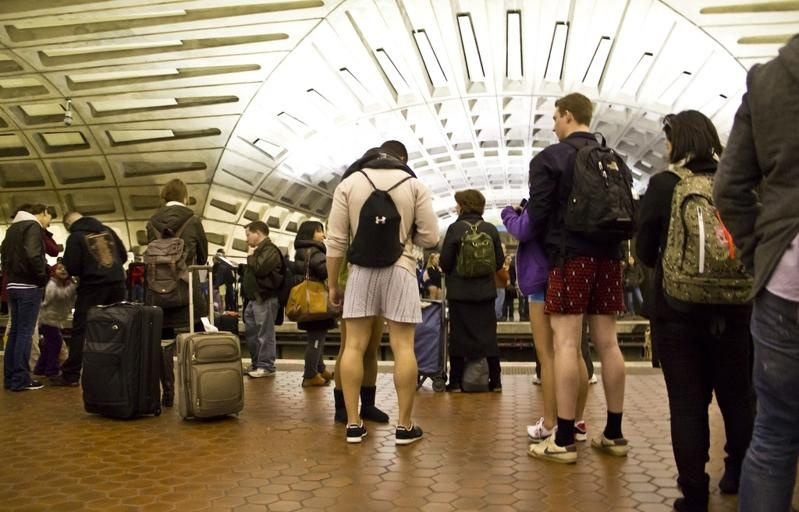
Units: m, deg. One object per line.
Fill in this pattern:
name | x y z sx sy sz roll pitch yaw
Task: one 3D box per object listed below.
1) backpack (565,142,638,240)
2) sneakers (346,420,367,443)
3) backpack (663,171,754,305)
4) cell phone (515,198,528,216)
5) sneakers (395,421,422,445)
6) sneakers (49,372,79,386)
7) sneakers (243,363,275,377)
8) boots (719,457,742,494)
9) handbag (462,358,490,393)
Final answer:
backpack | 1.731 -0.558 4.467 0.591 0.894 0.317 -1 -4 13
sneakers | -0.428 1.749 5.167 0.107 0.112 0.289 -1 -3 5
backpack | 2.141 -0.131 3.613 0.480 0.899 0.237 0 -4 6
cell phone | 1.238 -0.504 5.125 0.069 0.182 0.138 41 28 26
sneakers | 0.104 1.754 5.180 0.128 0.134 0.349 -1 -3 25
sneakers | -5.177 1.908 8.163 0.528 0.214 0.190 -4 -1 2
sneakers | -2.460 2.006 9.083 0.557 0.210 0.213 7 -7 -9
boots | 2.511 1.665 3.949 0.126 0.262 0.153 1 -4 -7
handbag | 1.128 1.763 7.709 0.499 0.567 0.301 2 -14 1
